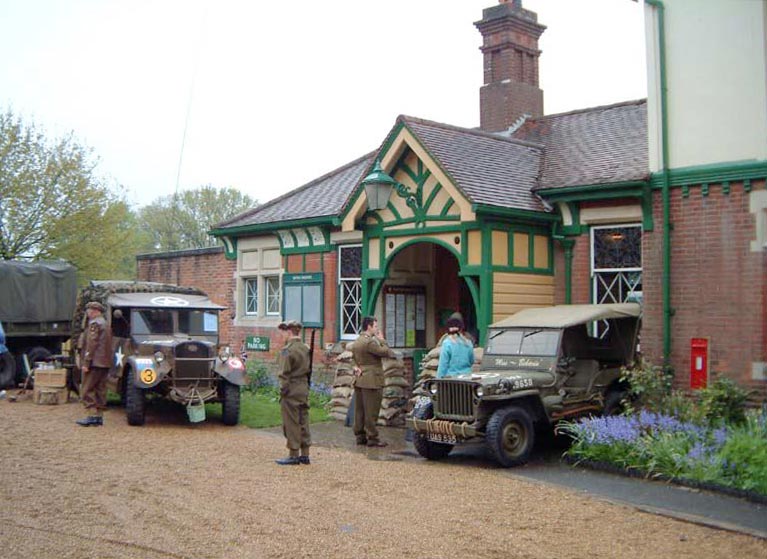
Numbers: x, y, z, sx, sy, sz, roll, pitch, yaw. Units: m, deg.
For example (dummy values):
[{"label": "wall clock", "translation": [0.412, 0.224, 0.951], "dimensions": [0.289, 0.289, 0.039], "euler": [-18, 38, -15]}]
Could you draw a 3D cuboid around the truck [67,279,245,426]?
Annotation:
[{"label": "truck", "translation": [-5.048, 1.480, 16.703], "dimensions": [2.441, 3.169, 5.210], "euler": [5, -5, -38]}]

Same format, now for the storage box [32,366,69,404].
[{"label": "storage box", "translation": [-7.332, 2.364, 17.121], "dimensions": [0.692, 0.792, 0.709], "euler": [0, -6, 11]}]

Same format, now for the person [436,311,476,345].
[{"label": "person", "translation": [1.266, 0.856, 13.608], "dimensions": [0.694, 0.907, 0.831], "euler": [0, -5, 0]}]

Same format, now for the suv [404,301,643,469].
[{"label": "suv", "translation": [2.720, 1.782, 13.648], "dimensions": [4.220, 2.788, 2.254], "euler": [1, -5, -34]}]

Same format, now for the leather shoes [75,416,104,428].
[{"label": "leather shoes", "translation": [-5.468, 2.659, 14.358], "dimensions": [0.515, 0.281, 0.206], "euler": [5, 1, 7]}]

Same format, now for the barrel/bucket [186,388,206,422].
[{"label": "barrel/bucket", "translation": [-3.544, 2.360, 14.450], "dimensions": [0.355, 0.586, 0.390], "euler": [-3, 4, 0]}]

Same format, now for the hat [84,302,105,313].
[{"label": "hat", "translation": [-5.555, 0.539, 14.910], "dimensions": [0.318, 0.136, 0.344], "euler": [8, -10, 1]}]

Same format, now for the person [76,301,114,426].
[{"label": "person", "translation": [-5.498, 1.602, 14.593], "dimensions": [0.575, 2.281, 0.807], "euler": [1, 1, -22]}]

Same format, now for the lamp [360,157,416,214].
[{"label": "lamp", "translation": [0.156, -1.975, 16.620], "dimensions": [1.307, 0.986, 0.893], "euler": [-1, -7, -28]}]

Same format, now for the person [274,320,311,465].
[{"label": "person", "translation": [-1.387, 1.746, 11.948], "dimensions": [0.510, 2.176, 0.711], "euler": [1, 1, -8]}]

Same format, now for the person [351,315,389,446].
[{"label": "person", "translation": [-0.239, 1.740, 12.860], "dimensions": [0.481, 2.204, 0.776], "euler": [0, 2, -45]}]
